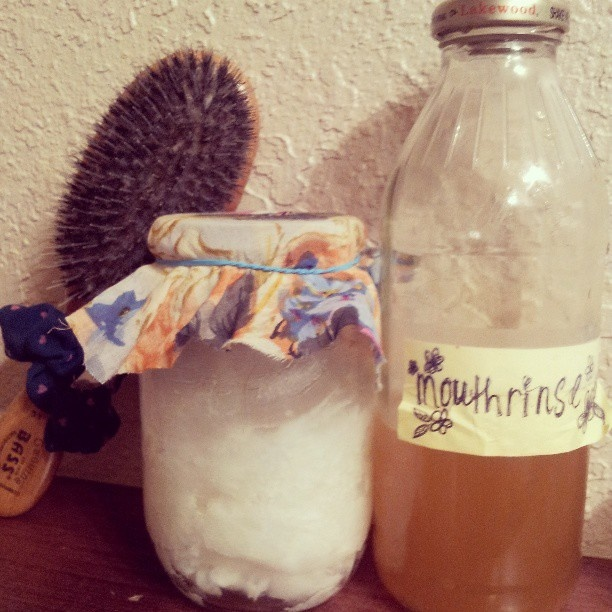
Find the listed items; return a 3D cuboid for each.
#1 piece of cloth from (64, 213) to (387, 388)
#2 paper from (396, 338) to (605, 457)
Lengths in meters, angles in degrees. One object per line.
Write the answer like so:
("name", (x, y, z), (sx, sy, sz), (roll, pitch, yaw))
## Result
("piece of cloth", (-0.052, -0.002, 0.541), (0.187, 0.061, 0.146), (2, 1, -19))
("paper", (0.133, 0.059, 0.531), (0.190, 0.060, 0.083), (0, 3, 3))
